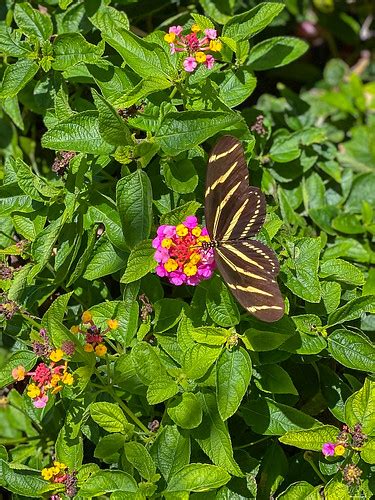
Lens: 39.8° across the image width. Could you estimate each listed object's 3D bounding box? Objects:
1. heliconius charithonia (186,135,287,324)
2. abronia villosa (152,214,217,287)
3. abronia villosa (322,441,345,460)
[{"bbox_3d":[0.093,-0.020,1.101,0.166,0.427,0.106,-12,48,-11],"label":"heliconius charithonia"},{"bbox_3d":[-0.003,-0.001,1.045,0.143,0.037,0.134,0,73,3],"label":"abronia villosa"},{"bbox_3d":[0.308,0.429,1.092,0.047,0.013,0.041,-9,18,-16],"label":"abronia villosa"}]
